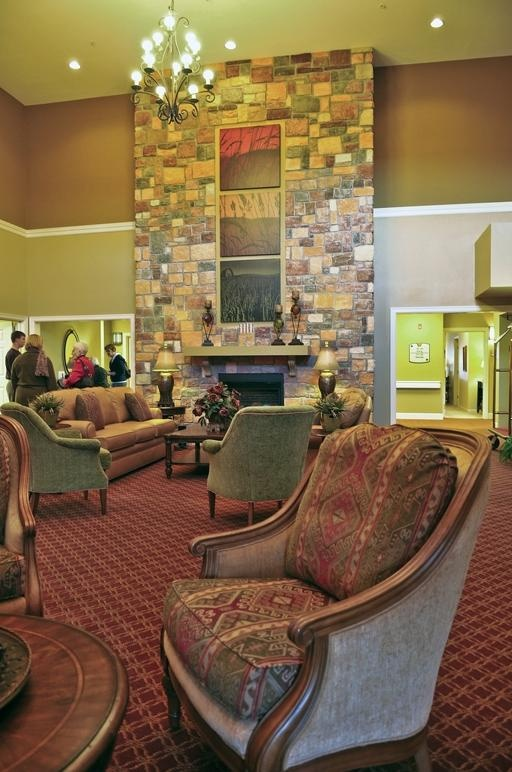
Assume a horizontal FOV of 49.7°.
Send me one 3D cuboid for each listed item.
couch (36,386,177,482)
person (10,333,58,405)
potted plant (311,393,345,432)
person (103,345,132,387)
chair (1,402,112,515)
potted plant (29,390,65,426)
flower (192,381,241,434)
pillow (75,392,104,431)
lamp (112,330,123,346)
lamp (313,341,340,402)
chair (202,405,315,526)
[{"bbox_3d":[-1.451,0.443,5.830,0.645,0.821,1.566,-1,3,18],"label":"couch"},{"bbox_3d":[-2.113,-0.154,5.224,0.391,0.668,0.709,-1,1,-24],"label":"person"},{"bbox_3d":[0.763,0.276,5.634,0.354,0.397,0.381,0,-3,2],"label":"potted plant"},{"bbox_3d":[-2.276,-0.339,9.120,0.375,0.711,1.491,-1,1,-13],"label":"person"},{"bbox_3d":[-1.313,0.537,3.761,0.776,0.881,0.697,-1,5,-26],"label":"chair"},{"bbox_3d":[-1.596,0.166,4.292,0.273,0.288,0.280,-3,-1,-15],"label":"potted plant"},{"bbox_3d":[-0.361,0.202,5.010,0.430,0.462,0.437,5,-5,-23],"label":"flower"},{"bbox_3d":[-1.552,0.247,5.088,0.117,0.247,0.334,2,3,10],"label":"pillow"},{"bbox_3d":[-3.087,-1.017,12.304,0.216,0.319,0.086,-1,1,-18],"label":"lamp"},{"bbox_3d":[0.927,-0.176,7.060,0.415,0.718,0.410,-1,-3,-40],"label":"lamp"},{"bbox_3d":[0.005,0.489,3.614,0.662,0.800,0.747,-1,5,-12],"label":"chair"}]
